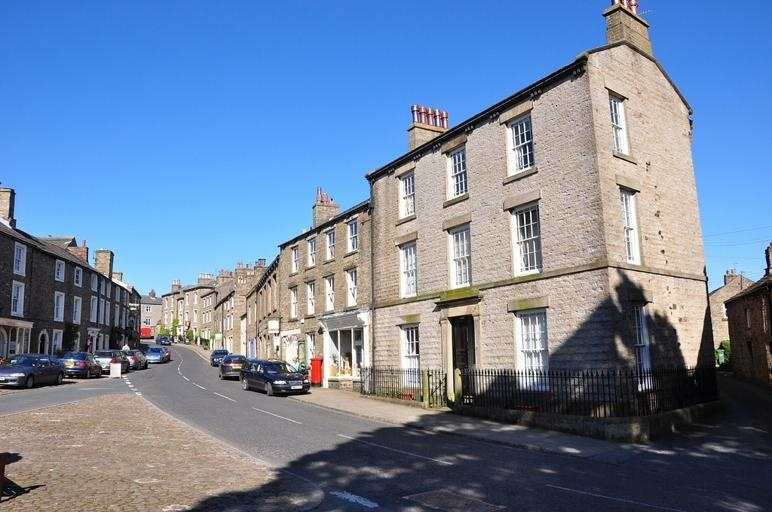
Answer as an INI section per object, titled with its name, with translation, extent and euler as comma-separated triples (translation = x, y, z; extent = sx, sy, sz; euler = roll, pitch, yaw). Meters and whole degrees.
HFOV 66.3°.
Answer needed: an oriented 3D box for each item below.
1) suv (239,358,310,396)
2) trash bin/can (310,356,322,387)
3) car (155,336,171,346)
[suv]
translation = -5.807, 6.331, 30.897
extent = 1.780, 1.916, 3.839
euler = 12, -18, -40
[trash bin/can]
translation = -4.023, 6.745, 34.358
extent = 0.685, 1.657, 0.462
euler = 2, -13, -7
[car]
translation = -32.725, 12.460, 86.612
extent = 1.103, 0.762, 2.473
euler = 6, -3, -28
